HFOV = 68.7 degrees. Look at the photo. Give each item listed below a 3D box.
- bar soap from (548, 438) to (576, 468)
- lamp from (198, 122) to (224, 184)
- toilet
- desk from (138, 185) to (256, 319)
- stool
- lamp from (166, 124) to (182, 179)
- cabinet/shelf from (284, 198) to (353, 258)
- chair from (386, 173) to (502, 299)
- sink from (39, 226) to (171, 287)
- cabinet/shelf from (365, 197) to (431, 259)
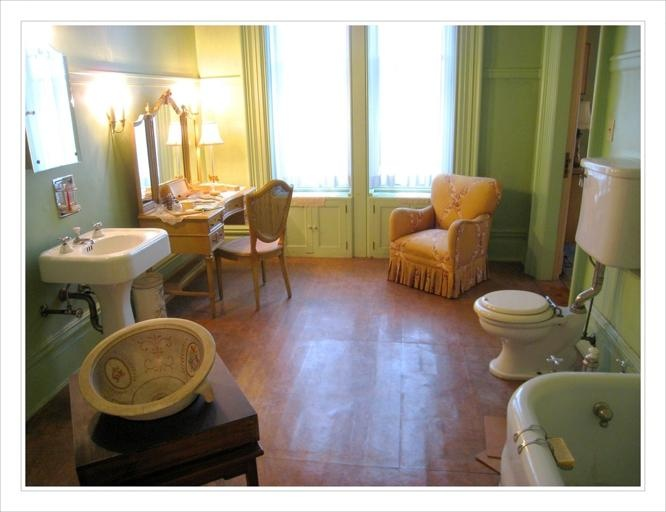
[{"bbox_3d":[0.868,0.745,1.877,0.106,0.032,0.110,1,18,1],"label":"bar soap"},{"bbox_3d":[-1.283,-1.087,5.195,0.247,0.640,0.561,-7,18,-12],"label":"lamp"},{"bbox_3d":[1.367,0.096,3.087,0.921,1.378,0.618,2,14,12],"label":"toilet"},{"bbox_3d":[-1.083,-0.134,4.623,0.451,0.761,1.226,1,19,10],"label":"desk"},{"bbox_3d":[-0.601,0.518,1.722,0.416,0.342,0.420,-3,13,-11],"label":"stool"},{"bbox_3d":[-1.498,-0.996,4.660,0.155,0.533,0.152,-11,18,-26],"label":"lamp"},{"bbox_3d":[-0.136,-0.325,5.299,0.576,0.556,0.236,1,12,4],"label":"cabinet/shelf"},{"bbox_3d":[1.040,-0.218,4.648,0.897,1.034,0.907,-8,19,-22],"label":"chair"},{"bbox_3d":[-1.474,0.024,3.221,0.593,0.326,0.672,-2,17,6],"label":"sink"},{"bbox_3d":[0.667,-0.310,4.902,0.588,0.624,0.209,1,10,14],"label":"cabinet/shelf"}]
